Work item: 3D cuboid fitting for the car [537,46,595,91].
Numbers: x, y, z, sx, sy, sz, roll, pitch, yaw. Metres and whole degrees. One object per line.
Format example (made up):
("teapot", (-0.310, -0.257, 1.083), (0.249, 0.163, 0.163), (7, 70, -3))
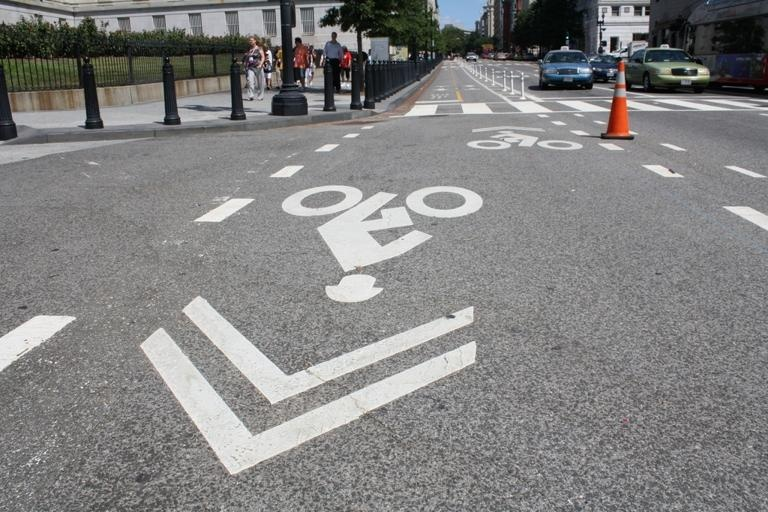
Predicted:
("car", (9.224, -9.257, 28.862), (2.338, 1.889, 2.353), (5, 25, 9))

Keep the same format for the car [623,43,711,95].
("car", (12.579, -8.152, 25.369), (2.300, 1.960, 3.531), (1, 25, 2))
